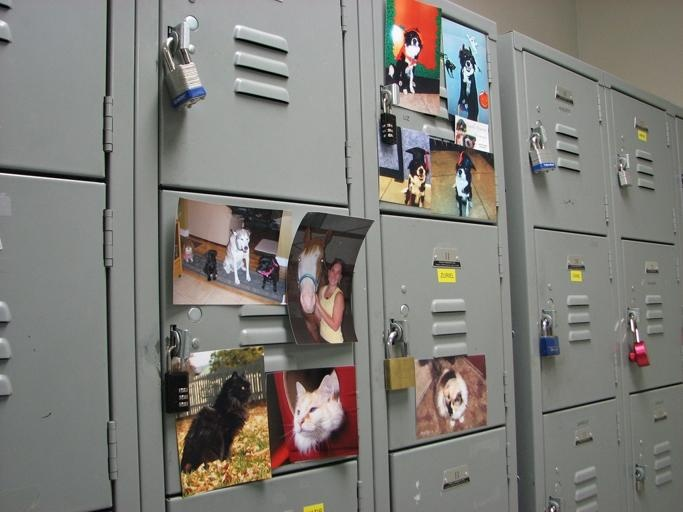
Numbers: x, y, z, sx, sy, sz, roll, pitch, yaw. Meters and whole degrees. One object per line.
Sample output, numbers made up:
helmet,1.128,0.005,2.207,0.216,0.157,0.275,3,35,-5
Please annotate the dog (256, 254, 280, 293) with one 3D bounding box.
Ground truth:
dog,-0.194,0.042,1.483,0.035,0.122,0.080,1,-29,-5

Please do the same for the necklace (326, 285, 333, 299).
necklace,-0.033,0.108,1.578,0.018,0.031,0.006,3,-11,-24
